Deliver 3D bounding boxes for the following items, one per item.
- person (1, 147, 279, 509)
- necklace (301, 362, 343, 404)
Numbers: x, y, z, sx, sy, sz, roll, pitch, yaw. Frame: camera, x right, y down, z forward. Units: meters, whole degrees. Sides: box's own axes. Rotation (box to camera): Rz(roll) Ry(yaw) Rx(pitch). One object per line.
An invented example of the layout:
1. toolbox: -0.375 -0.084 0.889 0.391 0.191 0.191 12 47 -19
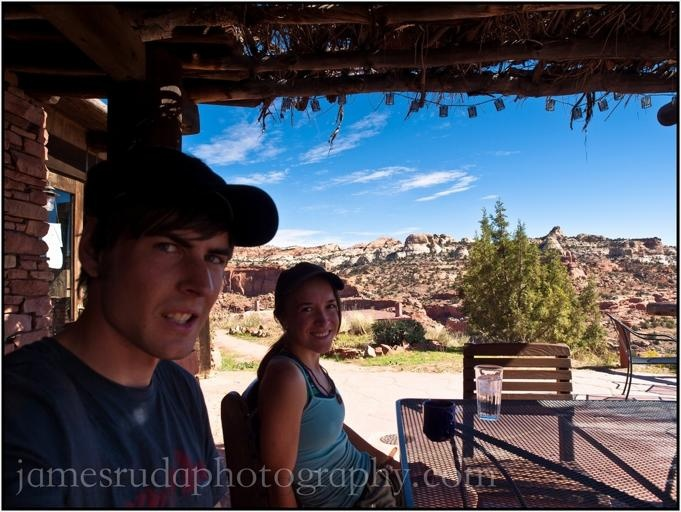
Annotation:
1. person: -0.633 0.281 1.502 0.759 1.274 0.377 4 -4 -34
2. necklace: -0.098 0.590 2.172 0.153 0.145 0.091 17 12 23
